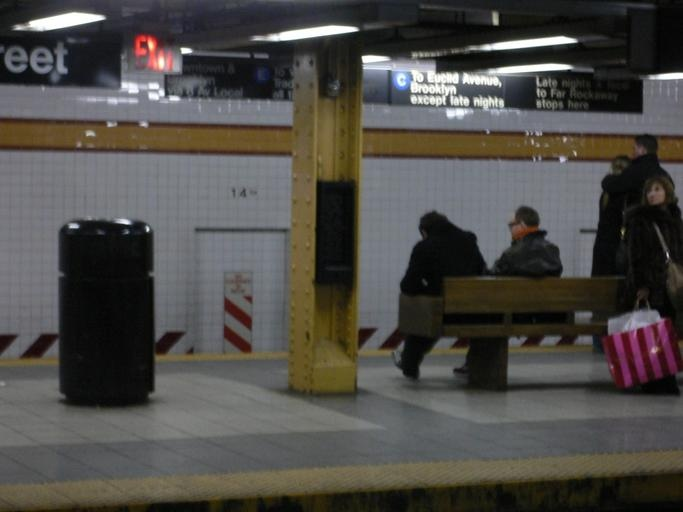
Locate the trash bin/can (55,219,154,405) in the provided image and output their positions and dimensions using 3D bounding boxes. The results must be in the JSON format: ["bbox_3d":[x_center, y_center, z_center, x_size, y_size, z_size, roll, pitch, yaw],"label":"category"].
[{"bbox_3d":[-2.040,0.506,11.734,0.796,1.593,0.325,-2,5,-15],"label":"trash bin/can"}]

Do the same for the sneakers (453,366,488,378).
[{"bbox_3d":[1.249,1.149,13.344,0.108,0.124,0.319,1,2,-18],"label":"sneakers"}]

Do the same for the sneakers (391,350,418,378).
[{"bbox_3d":[0.646,1.095,13.561,0.124,0.167,0.403,3,16,-19],"label":"sneakers"}]

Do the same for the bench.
[{"bbox_3d":[1.810,0.615,13.164,1.909,0.885,0.671,-4,10,-12],"label":"bench"}]
